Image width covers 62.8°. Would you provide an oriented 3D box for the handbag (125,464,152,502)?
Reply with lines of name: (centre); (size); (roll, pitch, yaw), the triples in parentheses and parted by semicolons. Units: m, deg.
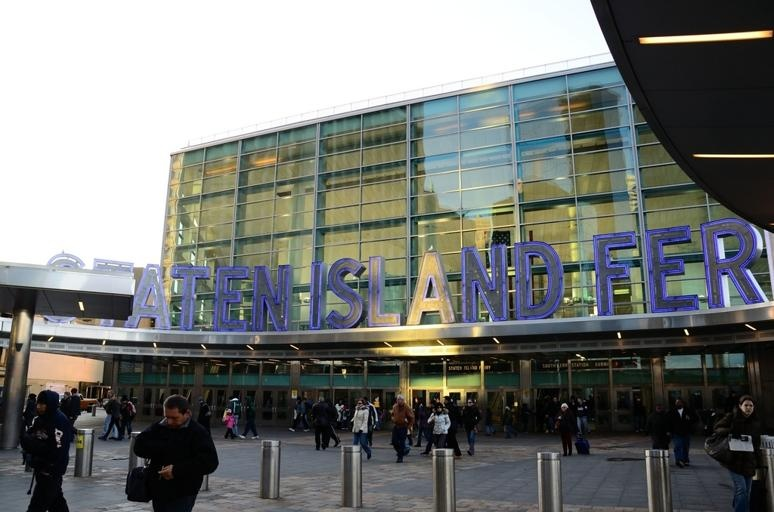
handbag: (-3.389, 3.091, 8.630); (0.401, 0.458, 0.219); (-12, -18, 37)
